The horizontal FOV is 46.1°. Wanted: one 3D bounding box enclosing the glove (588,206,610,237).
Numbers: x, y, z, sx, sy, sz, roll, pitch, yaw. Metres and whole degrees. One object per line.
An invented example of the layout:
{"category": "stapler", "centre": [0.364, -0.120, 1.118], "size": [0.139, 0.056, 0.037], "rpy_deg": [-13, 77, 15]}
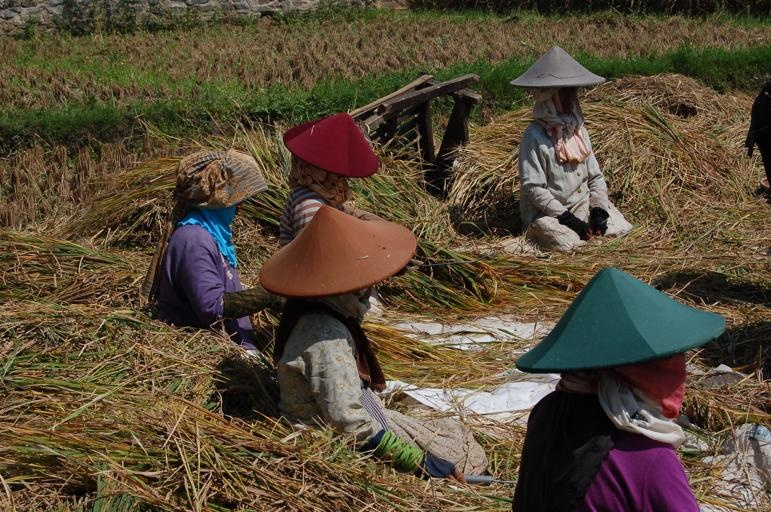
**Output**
{"category": "glove", "centre": [2.188, -0.370, 9.345], "size": [0.200, 0.124, 0.327], "rpy_deg": [12, 35, 3]}

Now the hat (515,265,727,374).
{"category": "hat", "centre": [1.278, 0.388, 5.012], "size": [0.768, 0.253, 0.751], "rpy_deg": [-14, 6, -42]}

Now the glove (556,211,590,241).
{"category": "glove", "centre": [1.930, -0.326, 9.275], "size": [0.318, 0.122, 0.258], "rpy_deg": [37, 30, 9]}

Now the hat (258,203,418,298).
{"category": "hat", "centre": [-0.312, -0.034, 5.902], "size": [1.001, 0.582, 0.463], "rpy_deg": [3, 11, -2]}

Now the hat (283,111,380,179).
{"category": "hat", "centre": [-0.395, -0.832, 6.815], "size": [0.616, 0.248, 0.516], "rpy_deg": [30, 21, 13]}
